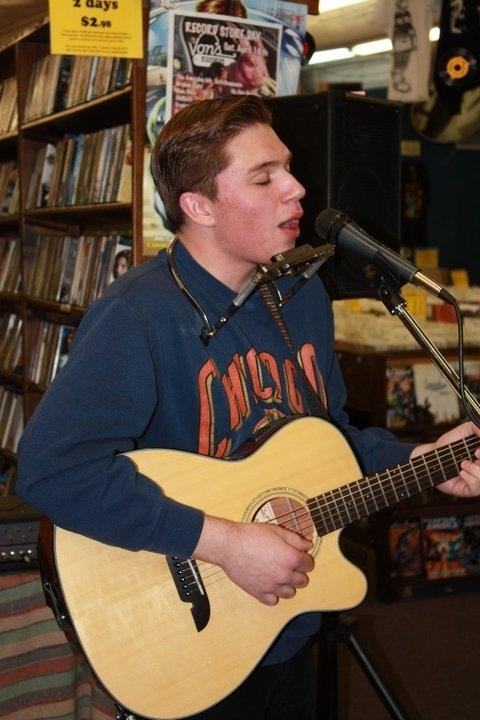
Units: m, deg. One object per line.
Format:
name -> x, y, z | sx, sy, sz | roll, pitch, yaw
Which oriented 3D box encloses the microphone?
microphone -> 0.239, -0.175, 1.103 | 0.095, 0.136, 0.277 | -11, 20, -27
